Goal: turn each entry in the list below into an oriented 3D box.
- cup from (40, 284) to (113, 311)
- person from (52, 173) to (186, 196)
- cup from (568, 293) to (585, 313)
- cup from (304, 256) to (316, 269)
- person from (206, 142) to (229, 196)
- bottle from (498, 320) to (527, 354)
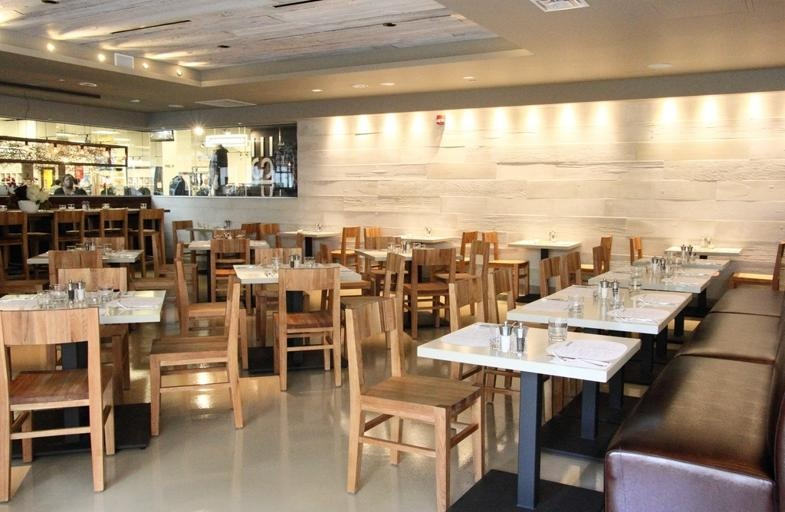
[{"bbox_3d":[-2.394,0.301,4.128,0.445,0.104,0.254,1,2,10],"label":"cup"},{"bbox_3d":[-5.907,-1.535,11.955,2.536,0.515,0.849,-4,12,-21],"label":"person"},{"bbox_3d":[1.290,0.345,3.912,0.160,0.111,0.121,-1,3,-2],"label":"cup"},{"bbox_3d":[-0.845,0.076,5.677,0.146,0.103,0.119,-2,7,-34],"label":"cup"},{"bbox_3d":[-3.724,-1.830,11.784,0.541,1.073,0.225,7,17,30],"label":"person"},{"bbox_3d":[0.656,0.474,3.204,0.200,0.167,0.186,-1,4,-30],"label":"bottle"}]
